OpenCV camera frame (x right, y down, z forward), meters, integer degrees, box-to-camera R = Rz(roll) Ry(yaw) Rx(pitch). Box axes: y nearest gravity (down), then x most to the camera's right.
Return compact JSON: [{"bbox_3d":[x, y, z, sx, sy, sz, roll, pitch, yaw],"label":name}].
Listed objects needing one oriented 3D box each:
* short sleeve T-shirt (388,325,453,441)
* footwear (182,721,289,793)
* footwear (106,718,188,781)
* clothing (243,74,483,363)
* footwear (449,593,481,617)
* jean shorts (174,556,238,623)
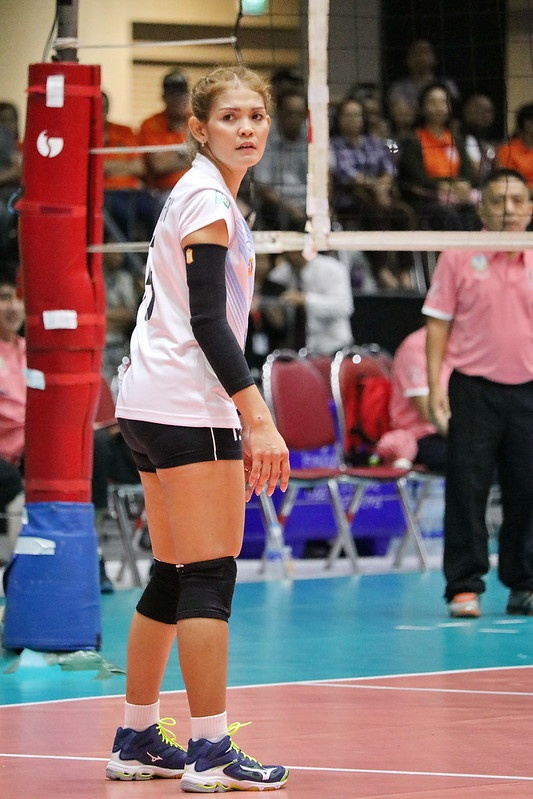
[{"bbox_3d":[0.893,-0.106,6.545,0.258,0.587,0.466,5,4,-21],"label":"short sleeve T-shirt"},{"bbox_3d":[-0.074,0.729,2.135,0.240,0.145,0.095,0,-7,-8],"label":"footwear"},{"bbox_3d":[-0.251,0.776,2.311,0.084,0.129,0.254,-15,-25,38],"label":"footwear"},{"bbox_3d":[0.579,-1.061,6.595,2.067,1.962,0.480,1,-24,0],"label":"clothing"},{"bbox_3d":[0.906,0.946,4.821,0.099,0.087,0.131,0,-10,-2],"label":"footwear"},{"bbox_3d":[-0.124,0.377,2.090,0.133,0.150,0.091,8,-33,-10],"label":"jean shorts"}]
